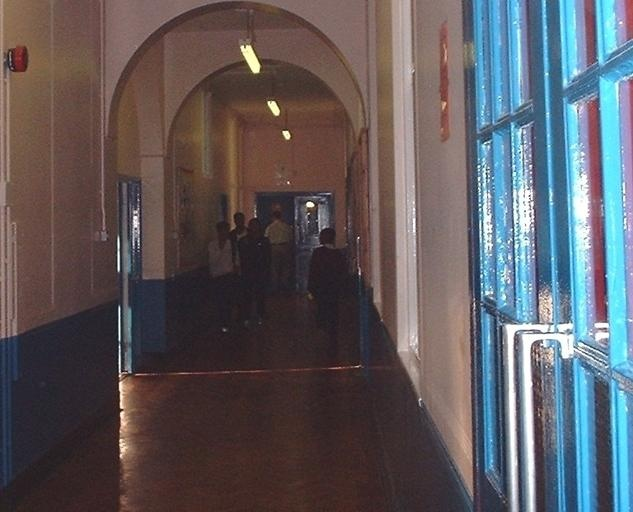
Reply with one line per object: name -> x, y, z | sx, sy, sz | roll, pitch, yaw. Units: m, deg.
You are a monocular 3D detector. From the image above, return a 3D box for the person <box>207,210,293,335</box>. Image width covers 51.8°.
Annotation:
person -> -0.982, 0.240, 8.380 | 0.780, 1.405, 0.413 | -1, 1, -15
